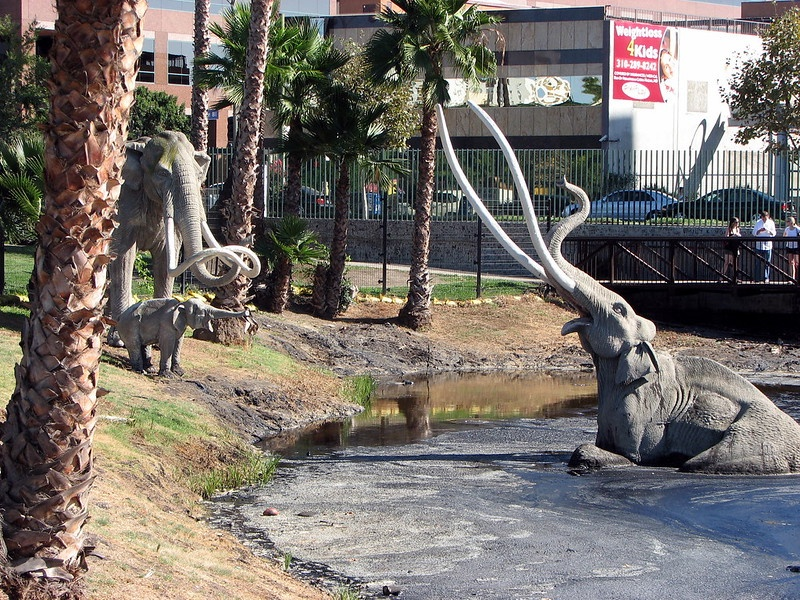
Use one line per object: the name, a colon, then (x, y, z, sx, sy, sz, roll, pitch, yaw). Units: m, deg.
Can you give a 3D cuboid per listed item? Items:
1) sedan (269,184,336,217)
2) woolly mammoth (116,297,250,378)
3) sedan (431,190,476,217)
sedan: (-2.595, -2.889, 42.797, 1.597, 0.863, 1.040, -1, 0, 26)
woolly mammoth: (-3.214, 0.530, 22.987, 1.883, 1.266, 0.799, 4, 12, -1)
sedan: (1.414, -2.637, 42.594, 1.360, 0.781, 0.910, -2, 5, 0)
